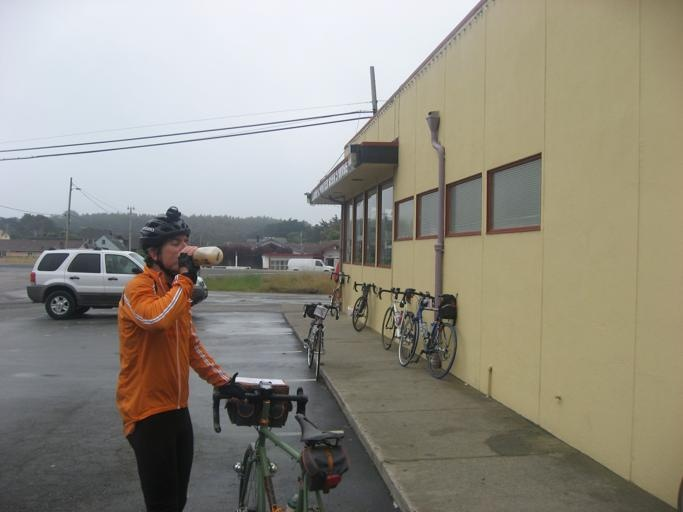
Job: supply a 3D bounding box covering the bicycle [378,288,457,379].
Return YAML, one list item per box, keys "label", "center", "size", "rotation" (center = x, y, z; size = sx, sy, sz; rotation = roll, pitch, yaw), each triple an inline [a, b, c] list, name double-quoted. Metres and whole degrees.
- label: "bicycle"
  center: [1.389, 1.290, 10.556]
  size: [0.705, 1.391, 2.638]
  rotation: [0, 2, -7]

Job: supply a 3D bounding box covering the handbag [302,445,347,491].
- label: "handbag"
  center: [-0.115, 1.387, 4.082]
  size: [0.295, 0.331, 0.275]
  rotation: [3, -13, -15]

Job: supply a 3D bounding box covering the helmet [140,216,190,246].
- label: "helmet"
  center: [-1.290, -0.162, 4.516]
  size: [0.251, 0.267, 0.214]
  rotation: [19, 4, 3]

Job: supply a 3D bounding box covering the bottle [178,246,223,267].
- label: "bottle"
  center: [-0.986, -0.003, 4.286]
  size: [0.121, 0.136, 0.374]
  rotation: [11, -6, -43]

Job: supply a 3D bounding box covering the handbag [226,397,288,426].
- label: "handbag"
  center: [-0.623, 1.169, 4.553]
  size: [0.311, 0.162, 0.261]
  rotation: [2, -3, -10]

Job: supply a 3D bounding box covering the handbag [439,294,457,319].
- label: "handbag"
  center: [1.709, 0.826, 9.730]
  size: [0.317, 0.483, 0.246]
  rotation: [3, 1, -8]

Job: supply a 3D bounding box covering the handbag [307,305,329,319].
- label: "handbag"
  center: [-0.405, 0.980, 10.494]
  size: [0.406, 0.250, 0.308]
  rotation: [2, 2, 24]
